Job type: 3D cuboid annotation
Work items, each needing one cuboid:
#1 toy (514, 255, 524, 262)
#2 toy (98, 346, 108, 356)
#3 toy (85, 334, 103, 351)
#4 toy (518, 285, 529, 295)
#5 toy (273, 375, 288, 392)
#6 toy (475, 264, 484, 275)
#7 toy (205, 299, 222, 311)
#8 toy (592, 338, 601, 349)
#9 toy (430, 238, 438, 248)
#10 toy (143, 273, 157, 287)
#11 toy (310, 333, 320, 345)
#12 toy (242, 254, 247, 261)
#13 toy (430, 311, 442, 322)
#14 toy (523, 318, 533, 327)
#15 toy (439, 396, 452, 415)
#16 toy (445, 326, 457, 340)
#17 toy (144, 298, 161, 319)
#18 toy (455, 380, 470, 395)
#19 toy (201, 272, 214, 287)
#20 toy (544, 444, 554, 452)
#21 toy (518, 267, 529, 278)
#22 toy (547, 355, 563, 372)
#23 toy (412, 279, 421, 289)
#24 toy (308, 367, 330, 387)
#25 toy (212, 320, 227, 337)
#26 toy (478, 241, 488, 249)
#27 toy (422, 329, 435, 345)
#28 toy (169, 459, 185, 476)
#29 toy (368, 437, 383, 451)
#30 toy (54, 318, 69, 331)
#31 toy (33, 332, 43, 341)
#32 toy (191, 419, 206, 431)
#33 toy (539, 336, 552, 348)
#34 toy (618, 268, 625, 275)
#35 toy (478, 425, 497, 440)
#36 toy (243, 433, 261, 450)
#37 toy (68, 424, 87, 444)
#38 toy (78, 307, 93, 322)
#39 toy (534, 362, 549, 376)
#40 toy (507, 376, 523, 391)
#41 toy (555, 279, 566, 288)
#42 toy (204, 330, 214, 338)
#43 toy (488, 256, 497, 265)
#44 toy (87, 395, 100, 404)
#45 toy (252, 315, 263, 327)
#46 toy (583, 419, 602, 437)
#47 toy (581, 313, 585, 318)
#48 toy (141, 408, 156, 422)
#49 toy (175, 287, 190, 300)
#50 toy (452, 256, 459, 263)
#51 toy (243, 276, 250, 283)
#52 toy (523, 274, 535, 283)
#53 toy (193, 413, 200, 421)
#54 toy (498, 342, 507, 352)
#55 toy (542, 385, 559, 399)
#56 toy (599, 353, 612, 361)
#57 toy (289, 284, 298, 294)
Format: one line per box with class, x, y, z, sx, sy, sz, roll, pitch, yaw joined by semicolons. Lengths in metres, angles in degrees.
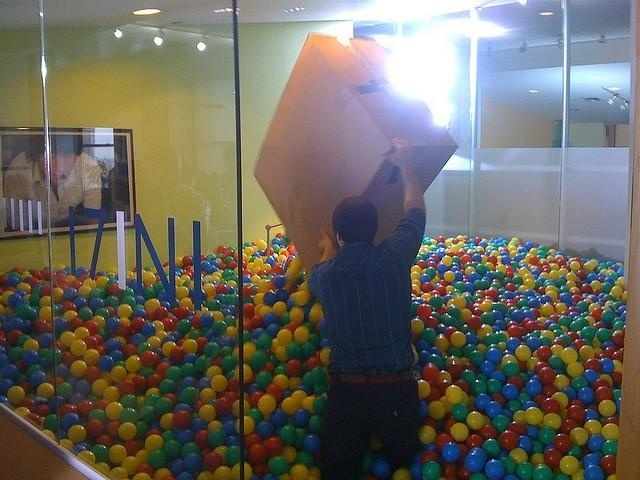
toy;1.534;0.142;4.083;0.053;0.048;0.058;-2;4;15
toy;-0.971;0.494;2.352;0.036;0.049;0.038;0;-4;-27
toy;-1.013;0.460;2.370;0.060;0.084;0.065;-2;10;27
toy;1.327;0.328;3.443;0.049;0.058;0.059;5;44;-9
toy;-0.170;0.622;2.318;0.054;0.071;0.055;-6;5;-31
toy;1.079;0.190;3.586;0.055;0.072;0.063;0;47;15
toy;-0.393;0.236;1.926;0.080;0.047;0.014;4;6;40
toy;1.478;0.552;2.820;0.040;0.054;0.043;3;-6;-17
toy;0.952;0.029;4.418;0.067;0.076;0.136;-6;5;0
toy;-0.678;0.153;2.082;0.054;0.063;0.066;6;3;-22
toy;-0.025;0.447;2.400;0.038;0.051;0.040;-3;2;-27
toy;-0.415;0.104;2.916;0.025;0.053;0.041;-1;14;-6
toy;0.570;0.378;2.631;0.046;0.059;0.045;-6;1;-42
toy;1.118;0.446;2.843;0.037;0.051;0.039;6;-22;-19
toy;0.551;0.726;2.315;0.061;0.086;0.067;0;8;11
toy;0.630;0.449;2.574;0.047;0.063;0.051;4;-39;-15
toy;-0.672;0.270;2.113;0.062;0.087;0.066;7;14;10
toy;0.646;0.668;2.409;0.051;0.072;0.056;-9;9;9
toy;-0.407;0.144;1.935;0.041;0.056;0.045;1;1;5
toy;0.967;0.878;2.230;0.024;0.033;0.026;2;-1;9
toy;1.432;0.226;3.717;0.051;0.071;0.055;6;13;15
toy;1.145;0.587;2.586;0.059;0.076;0.061;-22;24;-25
toy;0.563;0.259;3.077;0.015;0.051;0.048;19;11;-17
toy;-0.006;0.592;2.285;0.071;0.097;0.077;0;3;-3
toy;-0.366;0.320;1.915;0.042;0.057;0.047;11;17;9
toy;1.426;0.037;4.613;0.067;0.095;0.074;-2;2;9
toy;0.521;0.461;2.523;0.058;0.079;0.062;-3;3;-17
toy;-0.569;0.905;2.100;0.052;0.073;0.056;4;0;-14
toy;0.224;0.841;2.165;0.049;0.068;0.052;-2;1;-22
toy;-1.227;0.400;2.494;0.059;0.080;0.061;1;-7;-25
toy;-1.405;0.483;2.618;0.042;0.038;0.035;33;12;33
toy;-0.480;0.725;2.093;0.048;0.056;0.058;5;-15;-33
toy;1.138;0.512;2.665;0.044;0.049;0.056;20;-19;17
toy;2.145;0.222;3.769;0.031;0.048;0.048;3;28;8
toy;0.718;0.827;2.265;0.046;0.063;0.050;-1;3;0
toy;-0.272;0.797;2.098;0.050;0.068;0.056;9;35;-2
toy;-1.062;0.844;2.303;0.143;0.080;0.022;4;6;39
toy;-1.079;0.339;2.426;0.059;0.056;0.070;-1;14;-8
toy;1.050;0.612;2.508;0.044;0.052;0.056;6;-26;-3
toy;0.911;0.658;2.454;0.058;0.079;0.061;-4;-2;32
toy;1.642;0.297;3.607;0.050;0.059;0.056;-9;34;-26
toy;-0.416;0.348;1.961;0.032;0.044;0.034;2;4;-31
toy;1.256;0.150;3.855;0.053;0.059;0.055;-9;-47;41
toy;-0.986;0.687;2.292;0.045;0.044;0.040;10;-16;-9
toy;-0.300;0.381;2.482;0.043;0.056;0.044;2;14;-27
toy;1.175;0.805;2.271;0.053;0.072;0.057;3;6;-9
toy;1.510;0.435;3.032;0.019;0.017;0.021;-2;-35;2
toy;-0.713;0.716;2.208;0.052;0.071;0.057;0;5;9
toy;-0.518;0.198;1.981;0.061;0.054;0.014;1;5;21
toy;0.948;0.135;3.685;0.039;0.053;0.041;-3;-5;-21
toy;-0.391;0.206;2.822;0.034;0.047;0.053;-1;5;-2
toy;1.420;0.262;3.597;0.054;0.062;0.067;15;11;17
toy;-0.493;0.704;2.094;0.026;0.036;0.028;0;-1;-17
toy;0.905;0.530;2.616;0.034;0.047;0.036;-3;2;-23
toy;1.064;0.693;2.431;0.046;0.065;0.050;3;4;8
toy;1.422;0.584;2.633;0.034;0.040;0.049;5;7;0
toy;-0.133;0.241;2.606;0.034;0.047;0.036;4;-12;-20
